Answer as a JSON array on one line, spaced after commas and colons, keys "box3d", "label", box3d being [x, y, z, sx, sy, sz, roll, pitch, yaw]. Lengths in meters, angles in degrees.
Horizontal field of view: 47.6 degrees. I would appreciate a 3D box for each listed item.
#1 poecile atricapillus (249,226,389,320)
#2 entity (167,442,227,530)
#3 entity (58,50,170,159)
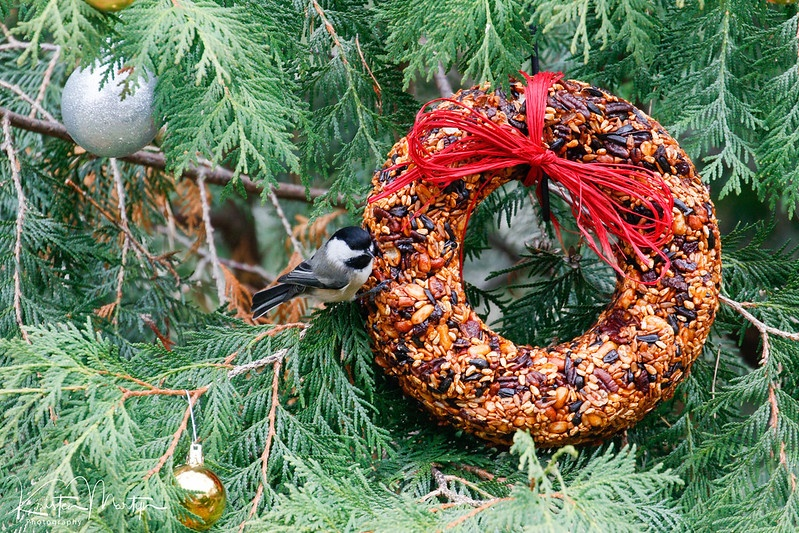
[{"box3d": [-0.402, -0.002, 4.334, 0.297, 0.637, 0.380, -73, 155, -54], "label": "poecile atricapillus"}, {"box3d": [-0.807, 0.929, 3.800, 0.261, 0.269, 0.417, 10, 59, -31], "label": "entity"}, {"box3d": [-1.381, -0.804, 4.207, 0.498, 0.487, 0.643, -14, 108, -38], "label": "entity"}]
